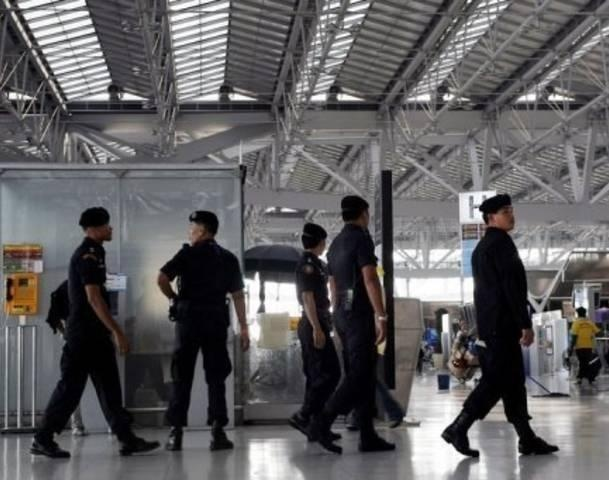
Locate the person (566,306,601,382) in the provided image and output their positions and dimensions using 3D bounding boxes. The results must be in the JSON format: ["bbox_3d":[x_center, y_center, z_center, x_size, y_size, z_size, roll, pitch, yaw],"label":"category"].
[{"bbox_3d":[5.807,2.228,17.086,0.947,1.602,0.423,6,-9,-44],"label":"person"}]

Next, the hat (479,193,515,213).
[{"bbox_3d":[1.778,-0.332,7.580,0.180,0.098,0.222,-2,-9,-43],"label":"hat"}]

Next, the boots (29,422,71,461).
[{"bbox_3d":[-2.245,1.876,7.423,0.474,0.349,0.185,5,-5,-10],"label":"boots"}]

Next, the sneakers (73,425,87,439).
[{"bbox_3d":[-2.403,2.065,8.729,0.112,0.114,0.081,0,-2,-10],"label":"sneakers"}]

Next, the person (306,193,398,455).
[{"bbox_3d":[0.448,0.765,7.661,0.743,2.416,0.671,-2,-7,19],"label":"person"}]

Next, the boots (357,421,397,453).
[{"bbox_3d":[0.637,1.853,7.577,0.472,0.352,0.161,-2,-2,-6],"label":"boots"}]

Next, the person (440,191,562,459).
[{"bbox_3d":[1.761,0.754,7.439,0.877,2.401,0.450,-2,-7,17],"label":"person"}]

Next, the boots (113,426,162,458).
[{"bbox_3d":[-1.539,1.885,7.662,0.495,0.367,0.171,-6,-1,-10],"label":"boots"}]

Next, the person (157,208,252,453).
[{"bbox_3d":[-0.952,0.852,7.755,0.852,2.282,0.355,1,-6,-5],"label":"person"}]

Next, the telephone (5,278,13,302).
[{"bbox_3d":[-3.234,0.551,8.962,0.068,0.261,0.043,2,-7,-17],"label":"telephone"}]

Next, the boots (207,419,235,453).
[{"bbox_3d":[-0.736,1.867,7.768,0.157,0.320,0.326,-1,2,26],"label":"boots"}]

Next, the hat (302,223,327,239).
[{"bbox_3d":[0.112,-0.094,8.248,0.190,0.081,0.158,11,-24,1],"label":"hat"}]

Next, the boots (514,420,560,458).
[{"bbox_3d":[2.042,1.810,7.459,0.519,0.383,0.195,-2,-4,-12],"label":"boots"}]

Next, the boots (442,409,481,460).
[{"bbox_3d":[1.446,1.751,7.270,0.155,0.285,0.373,17,13,-47],"label":"boots"}]

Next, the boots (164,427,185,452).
[{"bbox_3d":[-1.235,1.893,7.788,0.124,0.264,0.261,2,-3,-11],"label":"boots"}]

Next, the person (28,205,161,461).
[{"bbox_3d":[-1.983,0.849,7.606,0.975,2.328,0.383,-1,-6,12],"label":"person"}]
